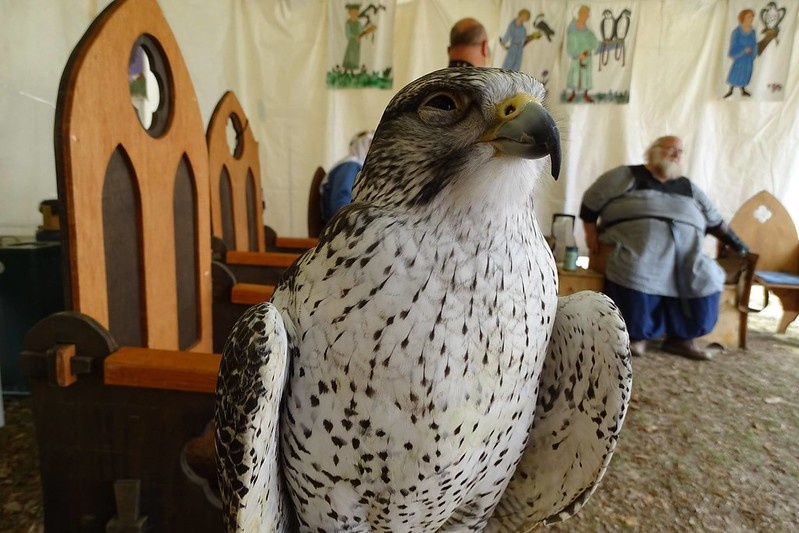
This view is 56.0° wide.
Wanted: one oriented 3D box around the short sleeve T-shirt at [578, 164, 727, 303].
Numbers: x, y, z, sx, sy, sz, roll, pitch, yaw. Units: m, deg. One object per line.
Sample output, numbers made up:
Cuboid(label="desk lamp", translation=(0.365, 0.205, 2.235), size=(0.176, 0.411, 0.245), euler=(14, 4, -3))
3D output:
Cuboid(label="short sleeve T-shirt", translation=(2.148, -0.288, 6.324), size=(1.155, 1.171, 0.736), euler=(10, -14, 9))

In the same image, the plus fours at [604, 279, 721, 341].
Cuboid(label="plus fours", translation=(2.139, 0.353, 6.161), size=(0.823, 0.377, 0.654), euler=(-1, 0, 4))

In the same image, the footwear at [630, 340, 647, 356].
Cuboid(label="footwear", translation=(1.938, 0.638, 6.115), size=(0.118, 0.109, 0.340), euler=(5, 8, 21))

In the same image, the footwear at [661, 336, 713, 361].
Cuboid(label="footwear", translation=(2.330, 0.650, 6.117), size=(0.424, 0.203, 0.165), euler=(5, 6, 28))

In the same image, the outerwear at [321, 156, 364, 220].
Cuboid(label="outerwear", translation=(-0.441, -0.570, 5.858), size=(0.252, 0.474, 0.528), euler=(-2, -18, 13))
